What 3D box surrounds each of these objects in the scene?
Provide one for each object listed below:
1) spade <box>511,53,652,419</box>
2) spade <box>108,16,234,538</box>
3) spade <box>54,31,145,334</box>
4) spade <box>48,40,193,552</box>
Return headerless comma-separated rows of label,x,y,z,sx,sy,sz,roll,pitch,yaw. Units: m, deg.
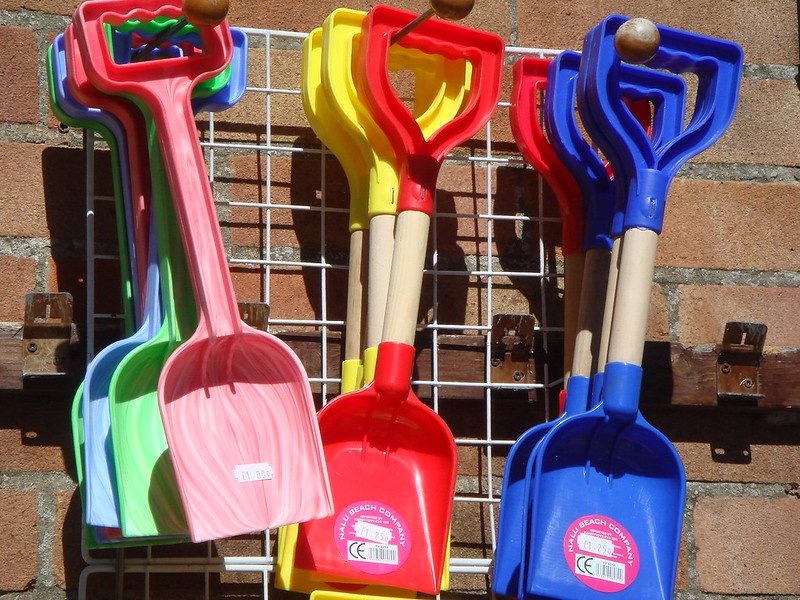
spade,0.177,-0.079,1.448,0.164,0.412,0.057,3,3,-7
spade,-0.238,-0.002,1.345,0.145,0.482,0.057,-2,3,-32
spade,-0.319,-0.124,1.381,0.157,0.292,0.067,-3,9,-23
spade,-0.296,-0.006,1.413,0.172,0.513,0.075,-3,6,-28
